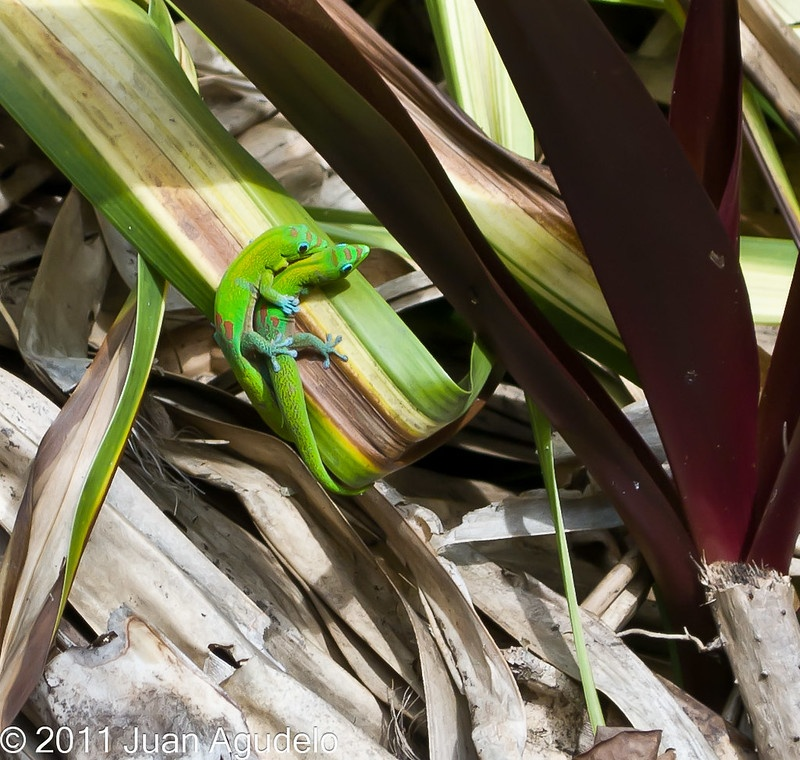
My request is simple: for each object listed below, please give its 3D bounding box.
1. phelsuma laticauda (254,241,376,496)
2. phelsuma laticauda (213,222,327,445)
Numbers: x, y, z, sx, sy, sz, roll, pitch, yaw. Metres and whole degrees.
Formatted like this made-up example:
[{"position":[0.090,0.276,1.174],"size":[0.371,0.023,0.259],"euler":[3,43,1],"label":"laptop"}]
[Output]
[{"position":[-0.129,-0.022,1.292],"size":[0.147,0.107,0.452],"euler":[3,38,-7],"label":"phelsuma laticauda"},{"position":[-0.195,-0.070,1.346],"size":[0.152,0.105,0.328],"euler":[6,57,5],"label":"phelsuma laticauda"}]
